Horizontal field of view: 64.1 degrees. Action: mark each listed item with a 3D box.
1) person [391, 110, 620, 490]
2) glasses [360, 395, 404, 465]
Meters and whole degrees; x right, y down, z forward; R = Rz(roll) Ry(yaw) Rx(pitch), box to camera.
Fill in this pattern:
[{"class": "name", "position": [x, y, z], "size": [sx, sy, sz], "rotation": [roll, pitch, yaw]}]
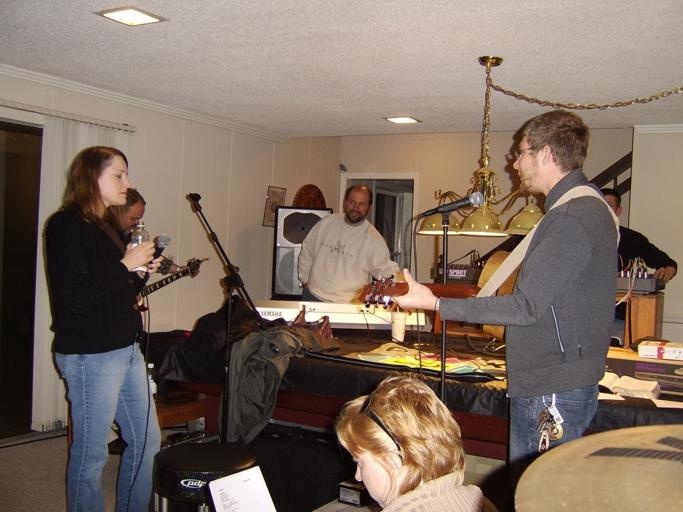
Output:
[{"class": "person", "position": [0.661, 0.129, 1.974], "size": [0.582, 1.329, 0.363], "rotation": [4, 5, 28]}, {"class": "glasses", "position": [0.087, 0.380, 1.240], "size": [0.032, 0.114, 0.114], "rotation": [-42, -2, 9]}]
